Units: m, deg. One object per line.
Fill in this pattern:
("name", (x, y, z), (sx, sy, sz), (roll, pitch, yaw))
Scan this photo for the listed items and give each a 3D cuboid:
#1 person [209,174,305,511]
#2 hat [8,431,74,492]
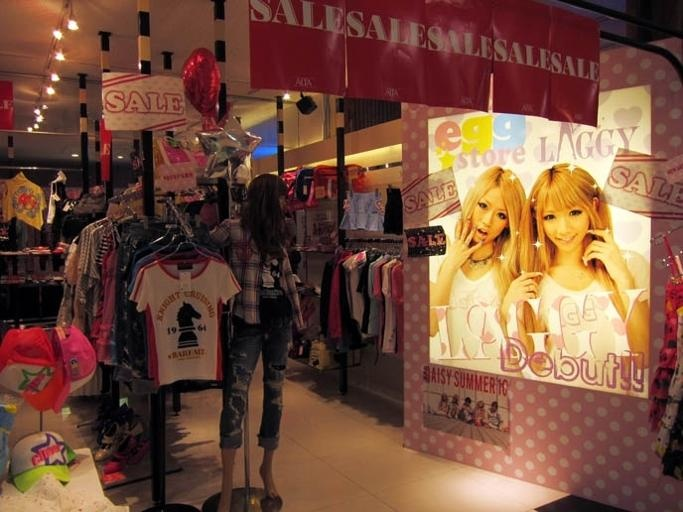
("person", (-0.577, 0.613, 3.888), (0.628, 2.363, 0.255), (-2, 5, -17))
("hat", (-1.974, 1.349, 3.618), (0.345, 0.281, 0.490), (-4, 7, -33))
